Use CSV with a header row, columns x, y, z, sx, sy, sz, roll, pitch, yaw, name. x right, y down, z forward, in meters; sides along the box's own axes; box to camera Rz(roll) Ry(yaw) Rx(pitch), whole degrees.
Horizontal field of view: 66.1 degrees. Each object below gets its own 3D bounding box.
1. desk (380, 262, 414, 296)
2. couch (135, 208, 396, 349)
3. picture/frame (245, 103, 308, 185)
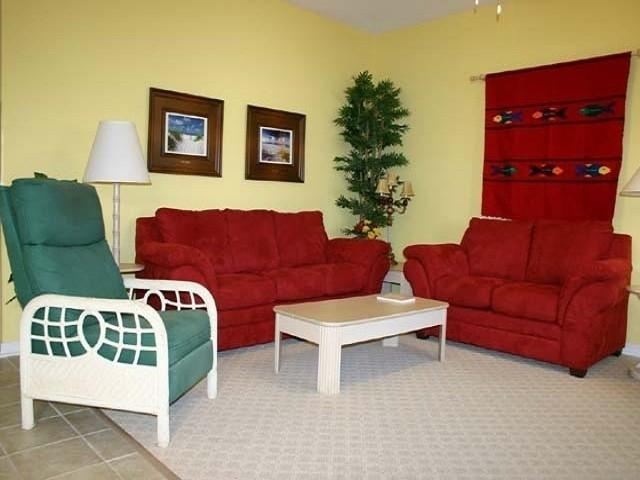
x,y,z,sx,sy,sz,roll,pitch,yaw,name
0.786,0.428,5.258,0.290,0.389,0.410,0,2,-29,desk
-0.481,0.291,4.754,2.316,1.177,0.990,-3,5,-43,couch
-0.502,-1.054,5.332,0.943,0.948,0.069,3,0,-41,picture/frame
